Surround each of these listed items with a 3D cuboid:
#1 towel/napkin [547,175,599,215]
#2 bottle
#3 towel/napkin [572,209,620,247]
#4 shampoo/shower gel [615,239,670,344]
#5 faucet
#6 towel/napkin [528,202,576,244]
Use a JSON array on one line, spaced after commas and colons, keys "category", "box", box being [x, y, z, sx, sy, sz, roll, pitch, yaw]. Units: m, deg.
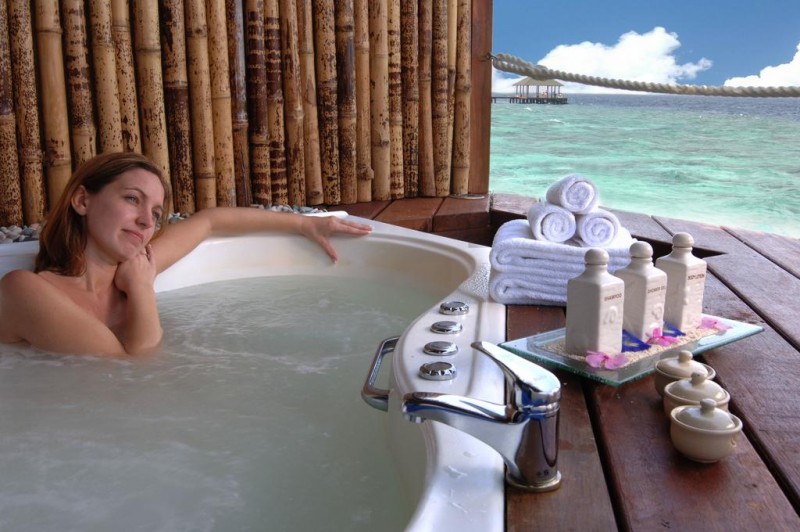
[{"category": "towel/napkin", "box": [0.498, -0.212, 1.631, 0.150, 0.114, 0.174, -7, 6, -11]}, {"category": "bottle", "box": [0.517, 0.072, 1.185, 0.320, 0.189, 0.091, -11, 18, -32]}, {"category": "towel/napkin", "box": [0.625, -0.117, 1.611, 0.130, 0.112, 0.158, 20, 23, 30]}, {"category": "shampoo/shower gel", "box": [0.453, 0.049, 1.150, 0.120, 0.214, 0.188, 0, 4, 6]}, {"category": "faucet", "box": [0.144, 0.236, 0.874, 0.249, 0.204, 0.126, 5, 21, 16]}, {"category": "towel/napkin", "box": [0.445, -0.122, 1.608, 0.120, 0.090, 0.156, 8, 8, 3]}]
